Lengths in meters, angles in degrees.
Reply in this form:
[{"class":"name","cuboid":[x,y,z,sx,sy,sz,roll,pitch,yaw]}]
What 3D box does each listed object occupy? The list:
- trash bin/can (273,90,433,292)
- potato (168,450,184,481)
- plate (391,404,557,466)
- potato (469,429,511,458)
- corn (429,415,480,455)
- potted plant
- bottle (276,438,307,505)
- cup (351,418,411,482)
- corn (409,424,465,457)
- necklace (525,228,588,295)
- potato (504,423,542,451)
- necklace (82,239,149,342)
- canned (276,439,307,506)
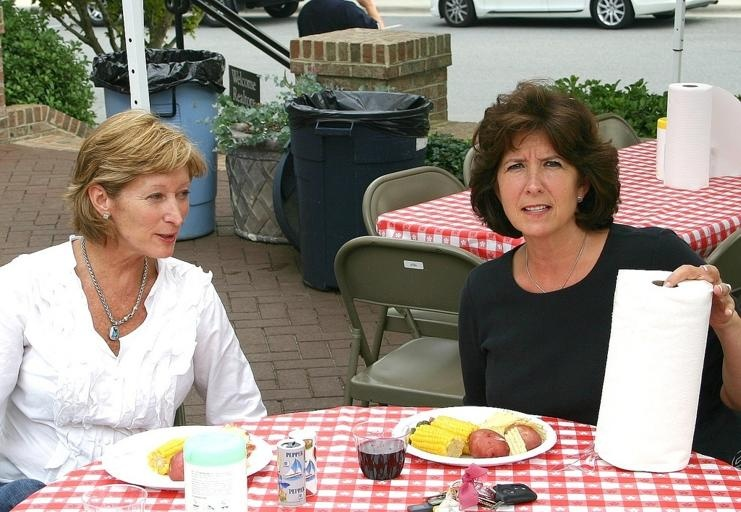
[{"class":"trash bin/can","cuboid":[-0.070,-0.544,5.899,1.370,1.737,1.013,1,21,4]},{"class":"potato","cuboid":[-0.531,0.578,1.971,0.046,0.066,0.057,-12,17,-18]},{"class":"plate","cuboid":[0.286,0.500,2.202,0.464,0.141,0.356,-6,12,-27]},{"class":"potato","cuboid":[0.346,0.537,2.075,0.099,0.086,0.074,-12,-9,20]},{"class":"corn","cuboid":[0.259,0.525,2.131,0.120,0.037,0.095,17,19,42]},{"class":"potted plant","cuboid":[-1.012,-0.979,7.134,1.506,1.418,1.587,8,14,31]},{"class":"bottle","cuboid":[-0.204,0.576,1.939,0.100,0.150,0.089,-17,24,-40]},{"class":"cup","cuboid":[0.034,0.555,2.039,0.137,0.099,0.140,-2,2,0]},{"class":"corn","cuboid":[0.193,0.540,2.081,0.137,0.050,0.078,15,33,23]},{"class":"necklace","cuboid":[0.633,0.010,2.519,0.211,0.219,0.228,1,20,14]},{"class":"potato","cuboid":[0.448,0.524,2.079,0.069,0.034,0.083,-1,21,-14]},{"class":"necklace","cuboid":[-0.893,0.116,2.558,0.226,0.364,0.088,8,-4,-19]},{"class":"canned","cuboid":[-0.204,0.576,1.939,0.097,0.152,0.088,-14,23,-34]}]
